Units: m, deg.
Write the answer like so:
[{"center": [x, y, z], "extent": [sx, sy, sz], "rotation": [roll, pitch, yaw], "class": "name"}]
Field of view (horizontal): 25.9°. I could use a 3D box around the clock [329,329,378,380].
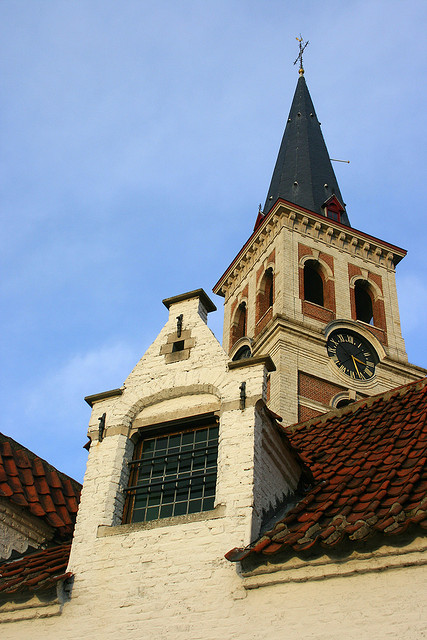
[{"center": [6.292, 1.630, 42.352], "extent": [2.175, 2.109, 0.217], "rotation": [34, -65, -11], "class": "clock"}]
